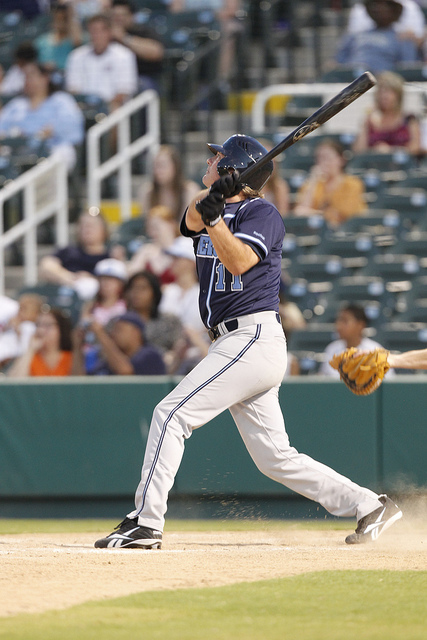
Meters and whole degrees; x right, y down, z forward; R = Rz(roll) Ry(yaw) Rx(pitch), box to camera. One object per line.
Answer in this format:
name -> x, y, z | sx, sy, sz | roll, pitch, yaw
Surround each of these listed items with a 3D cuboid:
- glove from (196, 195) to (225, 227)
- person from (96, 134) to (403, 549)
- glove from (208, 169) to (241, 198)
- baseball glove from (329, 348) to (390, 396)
glove -> -0.010, -0.401, 4.048 | 0.104, 0.116, 0.081 | -3, 18, -1
person -> 0.159, 0.184, 4.374 | 1.010, 1.729, 0.963 | 5, 20, 21
glove -> 0.024, -0.508, 4.083 | 0.044, 0.118, 0.092 | 34, 10, 11
baseball glove -> 0.616, 0.208, 4.563 | 0.264, 0.177, 0.122 | -15, -39, 38
